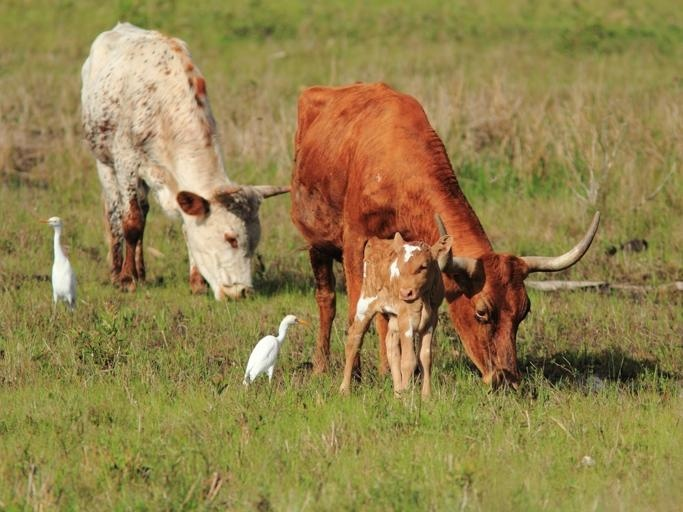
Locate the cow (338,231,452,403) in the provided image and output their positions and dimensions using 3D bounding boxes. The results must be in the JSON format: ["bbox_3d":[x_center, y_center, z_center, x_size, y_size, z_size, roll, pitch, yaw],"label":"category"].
[{"bbox_3d":[0.499,0.556,10.480,0.596,1.649,2.183,-2,2,-15],"label":"cow"}]

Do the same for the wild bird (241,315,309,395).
[{"bbox_3d":[-0.707,0.928,10.928,0.565,0.896,0.261,-2,32,-14],"label":"wild bird"}]

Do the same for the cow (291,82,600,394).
[{"bbox_3d":[0.580,0.012,11.678,1.550,3.454,4.513,2,8,-29],"label":"cow"}]
